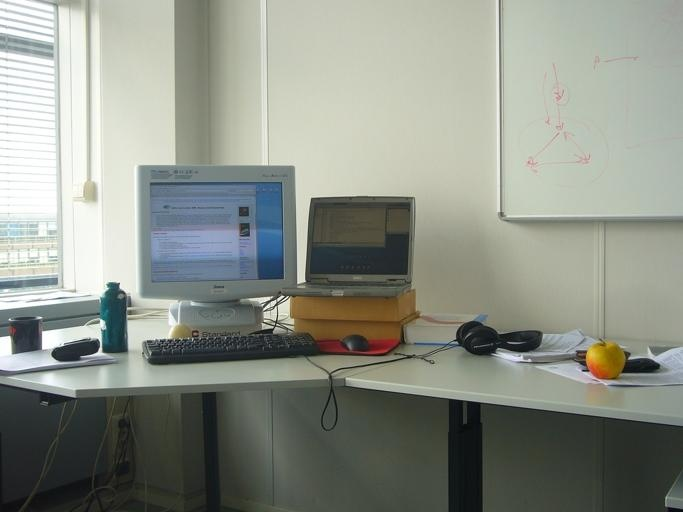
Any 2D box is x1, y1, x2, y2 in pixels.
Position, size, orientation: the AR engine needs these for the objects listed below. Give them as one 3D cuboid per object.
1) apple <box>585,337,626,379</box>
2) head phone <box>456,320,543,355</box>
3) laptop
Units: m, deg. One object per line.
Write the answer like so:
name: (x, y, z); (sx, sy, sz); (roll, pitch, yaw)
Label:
apple: (0.837, 0.330, 1.877); (0.117, 0.124, 0.115); (-6, 4, -19)
head phone: (0.563, 0.301, 2.136); (0.196, 0.070, 0.151); (-4, 0, 9)
laptop: (0.048, -0.061, 2.406); (0.486, 0.443, 0.408); (0, -1, 15)
